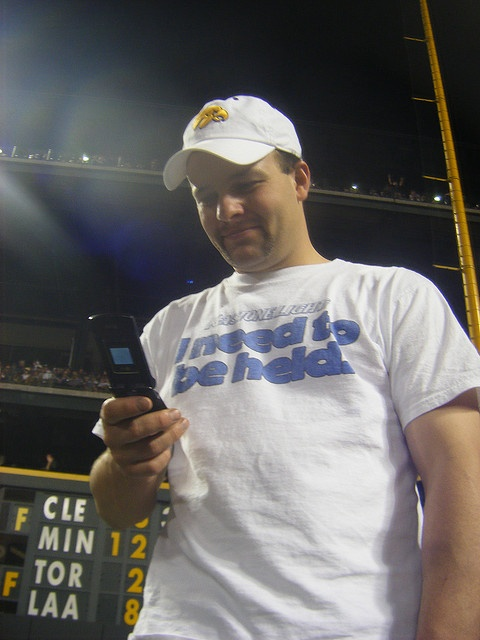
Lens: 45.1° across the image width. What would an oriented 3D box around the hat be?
[{"bbox_3d":[-0.010,-0.396,1.210,0.215,0.133,0.287,5,16,26],"label":"hat"}]
